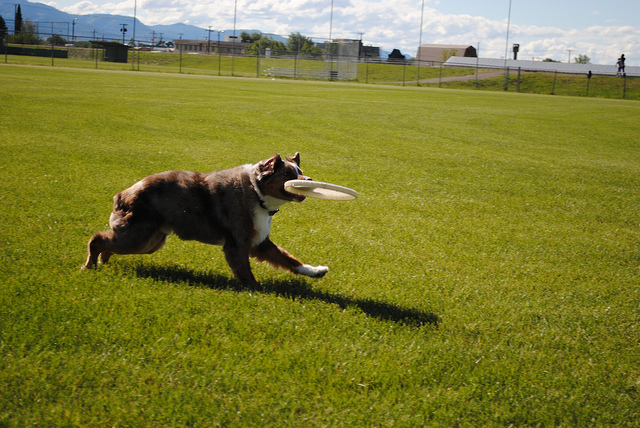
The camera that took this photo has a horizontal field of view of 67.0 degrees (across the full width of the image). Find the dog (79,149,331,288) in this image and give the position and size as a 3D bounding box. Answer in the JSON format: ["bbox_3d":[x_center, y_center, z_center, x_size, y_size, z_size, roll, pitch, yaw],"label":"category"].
[{"bbox_3d":[-1.421,0.133,6.200,3.207,1.325,0.763,-2,-3,15],"label":"dog"}]

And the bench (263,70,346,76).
[{"bbox_3d":[-1.767,-16.447,56.074,9.071,0.261,1.034,0,11,-10],"label":"bench"}]
